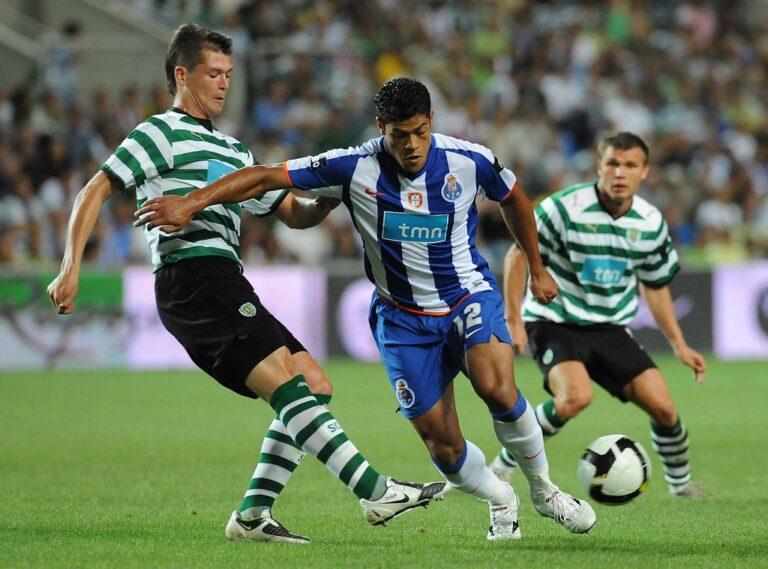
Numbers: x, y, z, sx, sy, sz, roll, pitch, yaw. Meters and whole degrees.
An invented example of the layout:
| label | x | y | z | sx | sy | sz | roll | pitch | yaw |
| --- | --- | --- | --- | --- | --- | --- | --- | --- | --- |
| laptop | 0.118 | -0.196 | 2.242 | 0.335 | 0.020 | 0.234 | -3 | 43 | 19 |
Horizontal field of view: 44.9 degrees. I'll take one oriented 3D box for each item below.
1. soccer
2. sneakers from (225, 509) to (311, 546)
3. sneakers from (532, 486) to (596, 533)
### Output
| label | x | y | z | sx | sy | sz | roll | pitch | yaw |
| --- | --- | --- | --- | --- | --- | --- | --- | --- | --- |
| soccer | 1.494 | 1.242 | 6.269 | 0.393 | 0.465 | 0.419 | 1 | -11 | -6 |
| sneakers | -0.681 | 1.459 | 5.715 | 0.544 | 0.239 | 0.195 | 4 | -9 | 1 |
| sneakers | 1.107 | 1.397 | 5.862 | 0.202 | 0.238 | 0.442 | -39 | 30 | -29 |
